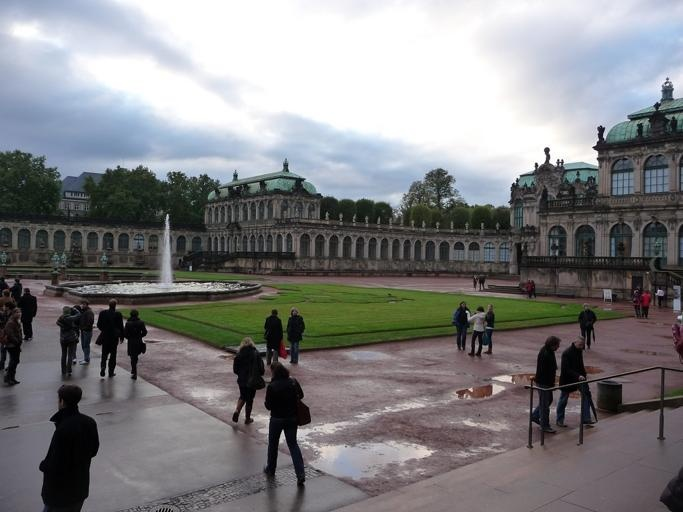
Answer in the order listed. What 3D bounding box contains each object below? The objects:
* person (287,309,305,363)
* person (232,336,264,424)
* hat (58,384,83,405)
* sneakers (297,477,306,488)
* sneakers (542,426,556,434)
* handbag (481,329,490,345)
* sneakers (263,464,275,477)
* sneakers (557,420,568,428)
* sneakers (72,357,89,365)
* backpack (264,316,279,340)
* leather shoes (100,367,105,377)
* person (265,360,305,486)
[{"bbox_3d":[-1.494,2.616,20.024,0.504,1.554,0.794,-1,0,-4],"label":"person"},{"bbox_3d":[-2.210,2.931,14.407,0.724,1.642,0.915,-1,0,-11],"label":"person"},{"bbox_3d":[-4.351,2.232,9.839,0.352,0.379,0.415,4,6,-27],"label":"hat"},{"bbox_3d":[-0.744,4.299,11.544,0.152,0.138,0.216,-1,0,-3],"label":"sneakers"},{"bbox_3d":[4.876,4.016,14.122,0.215,0.163,0.386,-1,0,28],"label":"sneakers"},{"bbox_3d":[5.342,2.980,22.465,0.232,0.320,0.771,-18,-24,0],"label":"handbag"},{"bbox_3d":[-1.390,4.195,11.893,0.116,0.126,0.281,3,7,-15],"label":"sneakers"},{"bbox_3d":[5.279,4.018,14.518,0.240,0.221,0.101,-2,1,15],"label":"sneakers"},{"bbox_3d":[-7.967,3.275,18.889,0.674,0.271,0.212,1,-1,-3],"label":"sneakers"},{"bbox_3d":[-2.109,2.184,18.768,0.449,0.561,0.435,-1,0,-12],"label":"backpack"},{"bbox_3d":[-6.829,3.341,17.467,0.130,0.293,0.123,7,33,-16],"label":"leather shoes"},{"bbox_3d":[-1.095,3.221,11.845,0.887,1.961,0.561,-1,0,13],"label":"person"}]
